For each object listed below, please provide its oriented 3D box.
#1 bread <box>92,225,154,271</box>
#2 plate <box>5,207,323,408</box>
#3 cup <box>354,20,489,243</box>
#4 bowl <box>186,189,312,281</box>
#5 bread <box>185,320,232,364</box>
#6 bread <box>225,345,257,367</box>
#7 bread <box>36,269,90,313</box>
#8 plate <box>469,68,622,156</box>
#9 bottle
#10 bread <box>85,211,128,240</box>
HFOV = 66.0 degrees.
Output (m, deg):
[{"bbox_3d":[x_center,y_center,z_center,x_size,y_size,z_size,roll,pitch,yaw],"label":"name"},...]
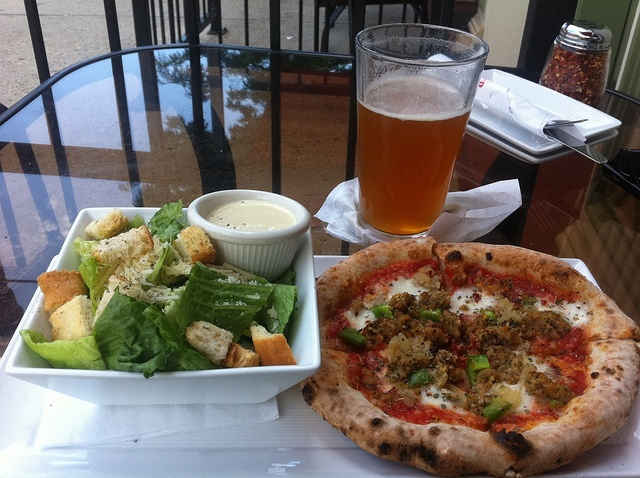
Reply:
[{"bbox_3d":[-0.483,0.018,1.215,0.126,0.043,0.078,-22,44,-24],"label":"bread"},{"bbox_3d":[-0.349,0.218,1.214,0.679,0.175,0.388,0,36,-5],"label":"plate"},{"bbox_3d":[0.292,-0.336,1.566,0.383,0.577,0.347,0,35,-4],"label":"cup"},{"bbox_3d":[-0.170,0.037,1.379,0.234,0.146,0.233,-2,3,0],"label":"bowl"},{"bbox_3d":[-0.246,0.231,1.102,0.096,0.027,0.076,32,55,5],"label":"bread"},{"bbox_3d":[-0.179,0.262,1.097,0.049,0.018,0.052,9,44,2],"label":"bread"},{"bbox_3d":[-0.611,0.126,1.176,0.096,0.030,0.099,-14,57,-25],"label":"bread"},{"bbox_3d":[0.759,-0.455,1.796,0.362,0.071,0.513,-27,52,-31],"label":"plate"},{"bbox_3d":[1.141,-0.766,2.149,0.260,0.336,0.329,-3,42,10],"label":"bottle"},{"bbox_3d":[-0.564,-0.036,1.310,0.094,0.032,0.070,-27,50,-17],"label":"bread"}]
